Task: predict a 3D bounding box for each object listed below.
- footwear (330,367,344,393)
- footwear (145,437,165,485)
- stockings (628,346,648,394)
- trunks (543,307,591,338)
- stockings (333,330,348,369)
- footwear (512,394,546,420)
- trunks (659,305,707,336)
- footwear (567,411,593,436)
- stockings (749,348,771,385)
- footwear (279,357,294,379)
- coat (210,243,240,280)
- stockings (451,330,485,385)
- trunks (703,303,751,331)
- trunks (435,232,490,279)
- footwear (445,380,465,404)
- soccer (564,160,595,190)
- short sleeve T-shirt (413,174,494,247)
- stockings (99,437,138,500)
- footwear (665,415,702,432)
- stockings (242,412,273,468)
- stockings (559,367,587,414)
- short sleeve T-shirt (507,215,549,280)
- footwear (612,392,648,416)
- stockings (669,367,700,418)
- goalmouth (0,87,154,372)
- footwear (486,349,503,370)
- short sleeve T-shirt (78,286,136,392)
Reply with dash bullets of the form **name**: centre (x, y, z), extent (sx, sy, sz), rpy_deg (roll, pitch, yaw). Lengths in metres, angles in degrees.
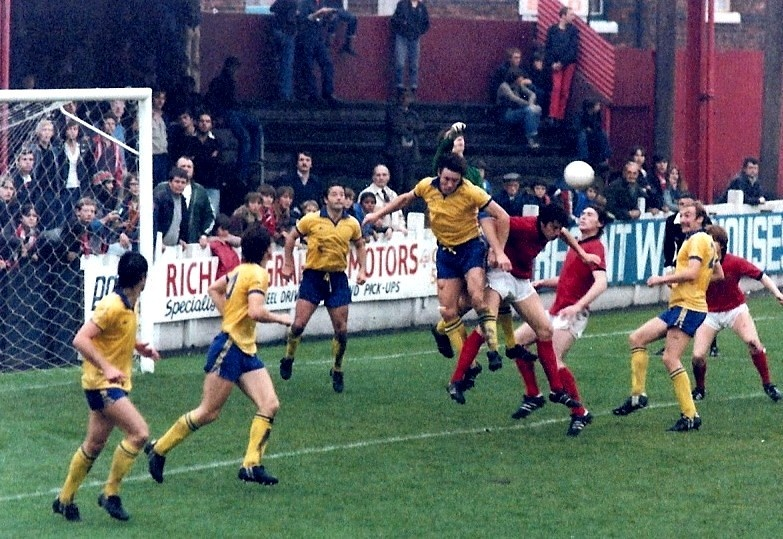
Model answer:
- **footwear**: centre (-0.837, 1.641, 21.456), extent (0.193, 0.354, 0.205), rpy_deg (-2, 2, -6)
- **footwear**: centre (-3.074, 2.493, 18.555), extent (0.247, 0.668, 0.220), rpy_deg (-2, 6, 20)
- **stockings**: centre (3.520, 1.418, 20.248), extent (0.222, 0.650, 0.156), rpy_deg (-1, 2, 5)
- **trunks**: centre (2.536, 0.763, 20.170), extent (0.438, 0.366, 0.360), rpy_deg (-7, 10, -2)
- **stockings**: centre (-0.806, 1.200, 21.475), extent (0.188, 0.568, 0.239), rpy_deg (-2, 2, -3)
- **footwear**: centre (1.977, 1.934, 20.536), extent (0.601, 0.331, 0.364), rpy_deg (-3, 3, -17)
- **trunks**: centre (4.093, 0.683, 20.023), extent (0.375, 0.323, 0.533), rpy_deg (10, 0, 42)
- **footwear**: centre (2.629, 2.126, 19.951), extent (0.240, 0.296, 0.488), rpy_deg (0, 4, 45)
- **stockings**: centre (5.529, 1.398, 21.236), extent (0.279, 0.530, 0.848), rpy_deg (-1, 3, 15)
- **footwear**: centre (-1.621, 1.476, 21.626), extent (0.195, 0.377, 0.454), rpy_deg (-2, 3, -4)
- **coat**: centre (-2.701, -0.221, 23.137), extent (0.498, 0.599, 0.231), rpy_deg (3, 17, 34)
- **stockings**: centre (1.065, 1.197, 20.243), extent (0.520, 0.691, 0.464), rpy_deg (-2, 2, -9)
- **trunks**: centre (4.896, 0.703, 20.914), extent (0.420, 0.188, 0.479), rpy_deg (-19, 32, 10)
- **trunks**: centre (1.028, -0.058, 20.604), extent (0.702, 0.809, 0.531), rpy_deg (-10, -7, 15)
- **footwear**: centre (0.906, 1.701, 20.002), extent (0.262, 0.308, 0.226), rpy_deg (-2, 2, -5)
- **soccer**: centre (3.561, -1.823, 26.987), extent (0.467, 0.555, 0.505), rpy_deg (2, 20, 24)
- **short sleeve T-shirt**: centre (0.909, -0.855, 21.028), extent (0.943, 0.841, 0.492), rpy_deg (5, 30, 30)
- **stockings**: centre (-3.432, 2.468, 17.924), extent (0.460, 0.700, 0.225), rpy_deg (-2, 2, -12)
- **footwear**: centre (4.071, 2.112, 19.895), extent (0.482, 0.276, 0.195), rpy_deg (-3, 3, -1)
- **stockings**: centre (-1.766, 2.180, 18.550), extent (0.407, 0.681, 0.435), rpy_deg (-2, 2, -6)
- **stockings**: centre (2.610, 1.601, 20.022), extent (0.222, 0.779, 0.310), rpy_deg (-33, -20, 20)
- **short sleeve T-shirt**: centre (1.950, -0.364, 20.715), extent (0.457, 0.917, 0.852), rpy_deg (13, 14, 26)
- **footwear**: centre (3.428, 1.893, 20.487), extent (0.486, 0.329, 0.562), rpy_deg (-1, 3, 13)
- **stockings**: centre (4.130, 1.688, 20.086), extent (0.358, 0.704, 0.571), rpy_deg (-1, 2, 12)
- **goalmouth**: centre (-4.888, -0.683, 22.706), extent (2.857, 4.486, 2.734), rpy_deg (-3, 2, -24)
- **footwear**: centre (1.420, 1.218, 19.709), extent (0.177, 0.269, 0.096), rpy_deg (-23, -15, 17)
- **short sleeve T-shirt**: centre (-3.560, 0.896, 17.862), extent (0.690, 1.265, 0.466), rpy_deg (-2, 2, -15)
